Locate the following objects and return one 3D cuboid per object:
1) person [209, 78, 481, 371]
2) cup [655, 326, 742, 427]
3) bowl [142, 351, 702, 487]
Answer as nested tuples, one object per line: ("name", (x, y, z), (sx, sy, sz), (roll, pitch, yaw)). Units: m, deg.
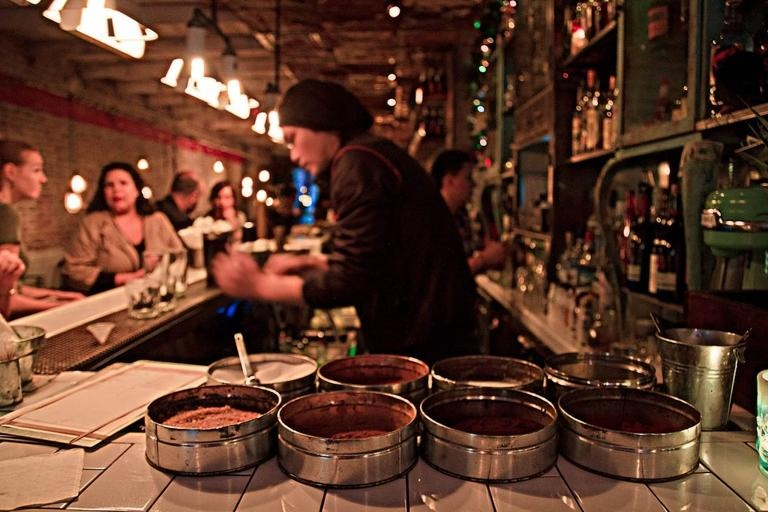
("person", (-0.108, -0.168, 2.976), (1.049, 1.278, 0.603), (2, 6, 7))
("cup", (1.085, 0.371, 2.409), (0.401, 0.404, 0.314), (-1, -4, 35))
("bowl", (0.332, 0.574, 2.160), (1.351, 0.268, 0.232), (1, 6, -1))
